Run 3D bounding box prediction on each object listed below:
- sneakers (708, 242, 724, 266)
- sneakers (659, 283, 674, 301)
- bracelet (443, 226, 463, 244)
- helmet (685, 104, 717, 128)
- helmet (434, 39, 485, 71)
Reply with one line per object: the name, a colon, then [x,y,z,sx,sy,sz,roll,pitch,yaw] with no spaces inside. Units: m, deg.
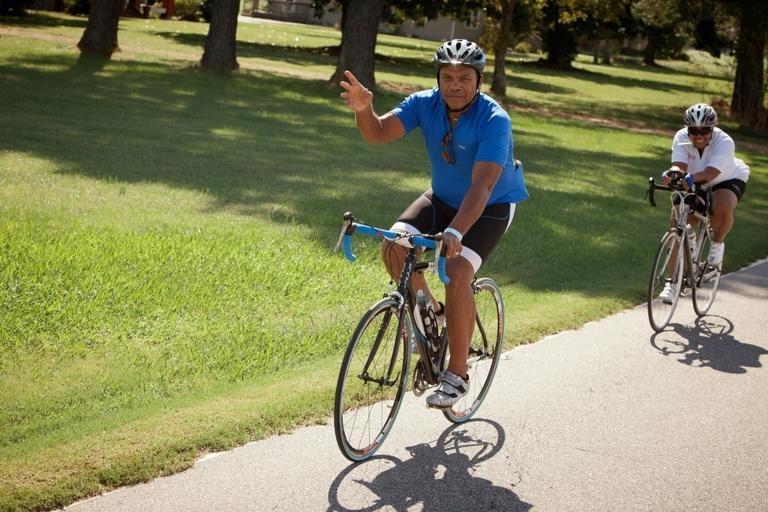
sneakers: [4.455,-0.020,11.153,0.144,0.471,0.195,0,-7,4]
sneakers: [3.558,0.459,10.457,0.154,0.205,0.248,1,2,15]
bracelet: [0.625,-0.177,7.406,0.131,0.094,0.131,26,8,-38]
helmet: [4.070,-1.785,10.636,0.362,0.312,0.297,13,16,22]
helmet: [0.716,-1.882,7.803,0.454,0.283,0.266,7,15,1]
